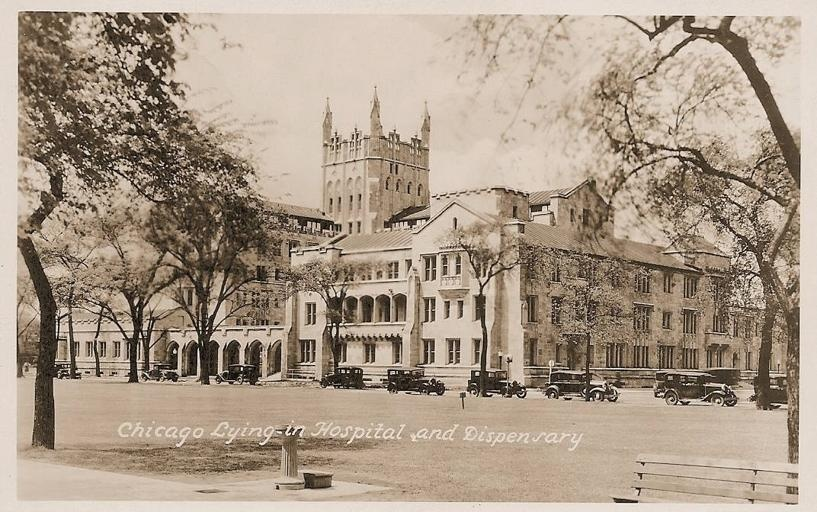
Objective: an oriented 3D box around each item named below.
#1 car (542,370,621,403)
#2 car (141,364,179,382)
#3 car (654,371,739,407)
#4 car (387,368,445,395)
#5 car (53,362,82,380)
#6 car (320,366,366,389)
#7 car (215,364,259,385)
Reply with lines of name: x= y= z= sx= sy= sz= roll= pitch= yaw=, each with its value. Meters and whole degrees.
car: x=12.406 y=9.326 z=78.355 sx=4.118 sy=1.741 sz=2.376 roll=-4 pitch=-6 yaw=28
car: x=-20.976 y=10.004 z=94.209 sx=1.683 sy=1.379 sz=3.957 roll=7 pitch=-14 yaw=-43
car: x=20.201 y=9.222 z=76.392 sx=4.756 sy=2.009 sz=2.453 roll=-2 pitch=-6 yaw=17
car: x=0.417 y=9.683 z=84.744 sx=2.657 sy=2.180 sz=4.640 roll=9 pitch=-14 yaw=-35
car: x=-29.233 y=9.850 z=94.354 sx=1.998 sy=1.802 sz=5.812 roll=4 pitch=-12 yaw=-16
car: x=-5.182 y=9.988 z=90.198 sx=2.908 sy=1.389 sz=1.748 roll=-4 pitch=-11 yaw=40
car: x=-14.296 y=10.125 z=93.444 sx=3.062 sy=1.353 sz=1.691 roll=0 pitch=-9 yaw=26
